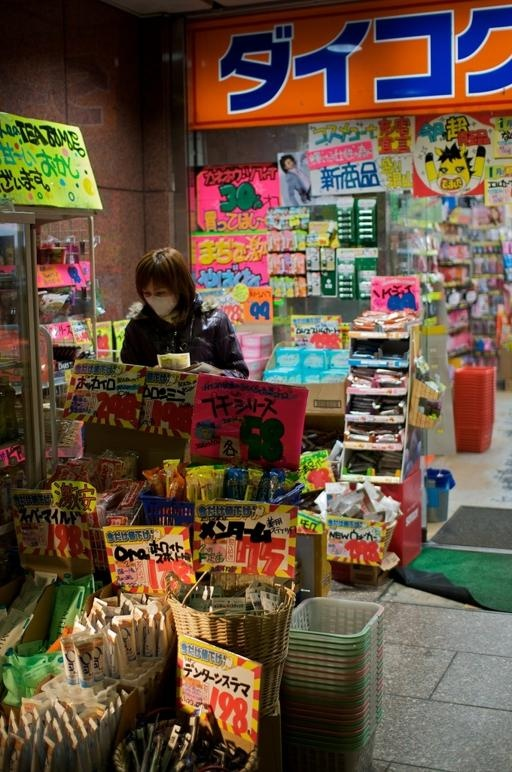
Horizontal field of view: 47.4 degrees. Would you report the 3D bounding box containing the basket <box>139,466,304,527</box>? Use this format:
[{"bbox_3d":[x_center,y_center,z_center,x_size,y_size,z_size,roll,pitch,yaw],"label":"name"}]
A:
[{"bbox_3d":[-0.102,0.280,1.592,0.317,0.109,0.215,2,5,7],"label":"basket"}]

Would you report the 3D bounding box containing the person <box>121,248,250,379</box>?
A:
[{"bbox_3d":[-0.340,-0.256,2.713,0.588,0.745,0.477,-1,13,-2],"label":"person"}]

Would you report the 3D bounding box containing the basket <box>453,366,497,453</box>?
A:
[{"bbox_3d":[2.662,0.306,7.183,0.451,1.041,0.395,0,-1,18],"label":"basket"}]

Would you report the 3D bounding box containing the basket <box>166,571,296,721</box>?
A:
[{"bbox_3d":[-0.010,0.575,1.268,0.182,0.210,0.218,-12,-21,20],"label":"basket"}]

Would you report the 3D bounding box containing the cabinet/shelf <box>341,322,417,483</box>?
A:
[{"bbox_3d":[0.901,0.166,4.187,0.532,1.272,0.547,2,9,24],"label":"cabinet/shelf"}]

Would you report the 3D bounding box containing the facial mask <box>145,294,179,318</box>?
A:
[{"bbox_3d":[-0.414,-0.343,2.547,0.135,0.078,0.136,0,-1,5],"label":"facial mask"}]

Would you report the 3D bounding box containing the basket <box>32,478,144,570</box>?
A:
[{"bbox_3d":[-0.442,0.374,1.564,0.203,0.160,0.321,-2,-16,1],"label":"basket"}]
